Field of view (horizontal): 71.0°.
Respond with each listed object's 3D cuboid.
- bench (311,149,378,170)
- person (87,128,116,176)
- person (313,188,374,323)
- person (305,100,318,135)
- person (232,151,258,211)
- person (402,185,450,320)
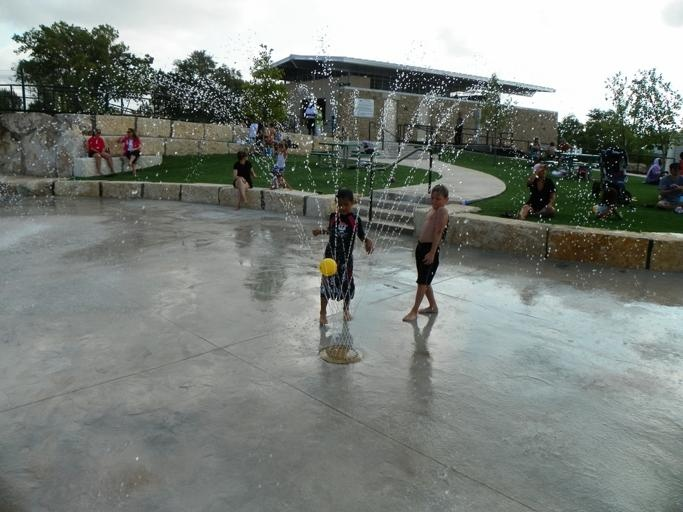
[{"bbox_3d":[0.187,-4.295,21.294,2.361,0.627,5.173,3,14,1],"label":"bench"},{"bbox_3d":[-9.042,-3.885,17.951,0.840,1.633,0.711,-5,15,-27],"label":"person"},{"bbox_3d":[0.012,0.018,5.508,0.659,1.565,0.746,3,13,3],"label":"person"},{"bbox_3d":[-1.762,-7.761,27.112,0.581,1.845,1.198,0,13,-7],"label":"person"},{"bbox_3d":[-2.798,-2.163,13.482,0.516,1.618,0.824,2,13,-1],"label":"person"},{"bbox_3d":[1.044,-0.039,5.788,0.374,1.586,0.665,7,14,22],"label":"person"}]
